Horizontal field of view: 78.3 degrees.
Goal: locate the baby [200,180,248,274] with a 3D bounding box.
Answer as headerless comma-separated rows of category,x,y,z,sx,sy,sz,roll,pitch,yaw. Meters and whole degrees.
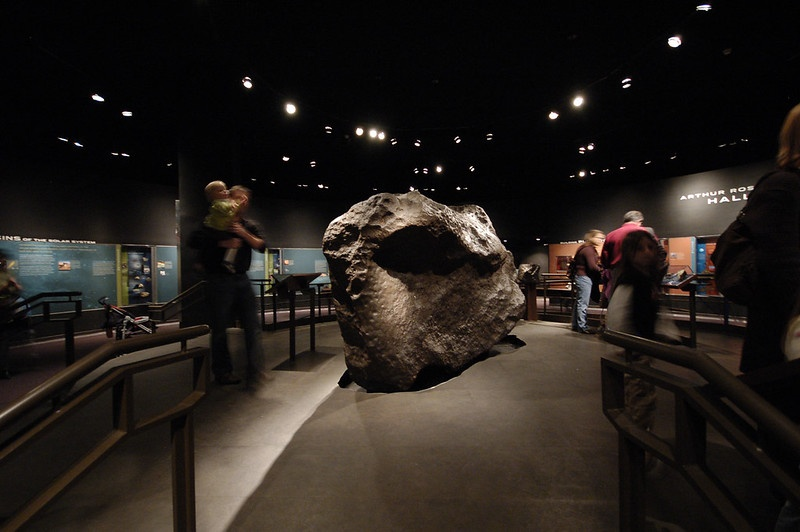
baby,-2.450,-0.545,6.806,0.651,1.243,0.291,-1,1,-13

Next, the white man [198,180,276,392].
white man,-2.266,0.263,7.100,0.866,2.840,0.825,0,0,19
